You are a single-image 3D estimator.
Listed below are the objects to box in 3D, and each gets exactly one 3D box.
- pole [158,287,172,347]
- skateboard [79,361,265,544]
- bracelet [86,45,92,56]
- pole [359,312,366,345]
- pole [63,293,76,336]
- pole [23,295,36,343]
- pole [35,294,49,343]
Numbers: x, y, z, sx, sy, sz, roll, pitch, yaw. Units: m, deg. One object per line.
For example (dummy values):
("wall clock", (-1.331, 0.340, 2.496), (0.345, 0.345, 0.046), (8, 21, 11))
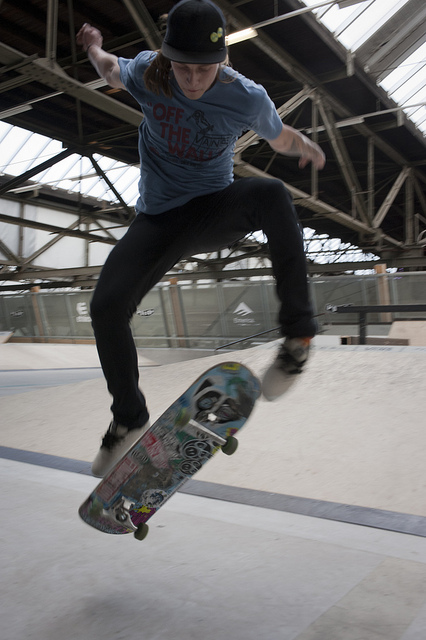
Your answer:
("pole", (-0.916, -0.045, 8.943), (0.166, 1.157, 0.183), (-5, 11, 8))
("skateboard", (-0.095, 0.287, 1.252), (0.698, 0.246, 0.101), (-43, 20, -9))
("bracelet", (-0.507, -1.101, 1.837), (0.028, 0.023, 0.008), (-4, -1, 45))
("pole", (2.105, 0.122, 6.404), (0.075, 0.427, 0.144), (-3, -1, 4))
("pole", (-3.336, -0.120, 10.571), (0.236, 1.002, 0.236), (-4, -1, 25))
("pole", (-4.671, -0.051, 11.553), (0.157, 1.220, 0.143), (-11, 6, 17))
("pole", (-4.220, -0.055, 11.187), (0.120, 1.213, 0.146), (-17, 13, -18))
